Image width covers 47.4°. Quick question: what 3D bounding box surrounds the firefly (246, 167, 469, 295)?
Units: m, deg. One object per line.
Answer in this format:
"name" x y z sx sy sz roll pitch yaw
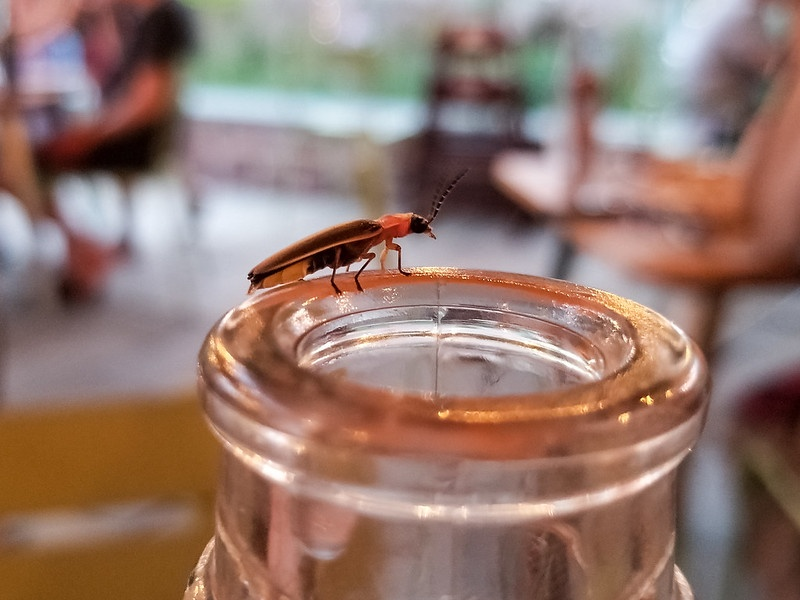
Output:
"firefly" -0.041 -0.060 0.780 0.172 0.062 0.071 -12 76 -24
